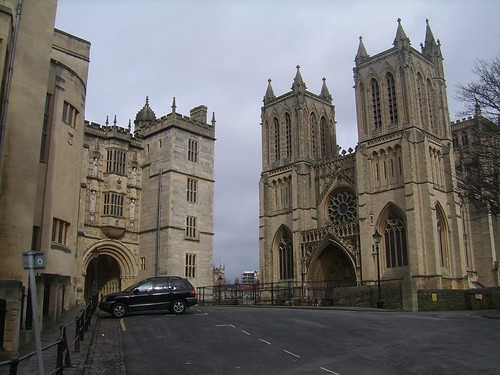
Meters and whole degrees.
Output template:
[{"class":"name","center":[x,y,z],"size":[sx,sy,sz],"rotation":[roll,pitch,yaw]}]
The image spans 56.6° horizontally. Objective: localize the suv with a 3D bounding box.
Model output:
[{"class":"suv","center":[-5.296,5.815,24.497],"size":[4.624,1.890,2.198],"rotation":[6,-14,-19]}]
